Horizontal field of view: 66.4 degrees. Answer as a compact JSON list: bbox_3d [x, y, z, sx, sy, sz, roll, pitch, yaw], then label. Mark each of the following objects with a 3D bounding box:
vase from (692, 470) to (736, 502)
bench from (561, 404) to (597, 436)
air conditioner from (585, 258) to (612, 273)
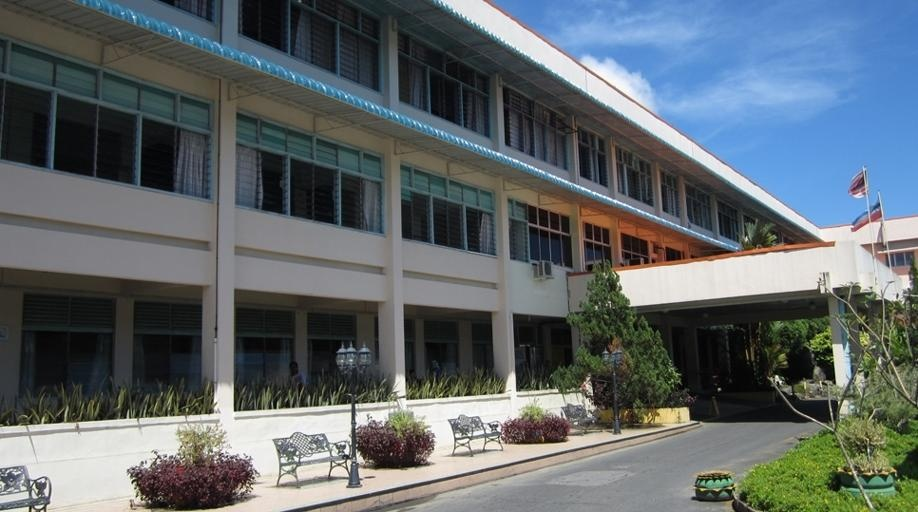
[{"bbox_3d":[7.721,6.947,21.100,0.924,0.475,0.910,6,-9,-43],"label":"vase"},{"bbox_3d":[5.531,7.731,33.047,1.181,1.411,2.487,-11,-17,11],"label":"bench"},{"bbox_3d":[7.648,0.514,39.316,1.152,0.399,1.161,0,-9,-5],"label":"air conditioner"}]
